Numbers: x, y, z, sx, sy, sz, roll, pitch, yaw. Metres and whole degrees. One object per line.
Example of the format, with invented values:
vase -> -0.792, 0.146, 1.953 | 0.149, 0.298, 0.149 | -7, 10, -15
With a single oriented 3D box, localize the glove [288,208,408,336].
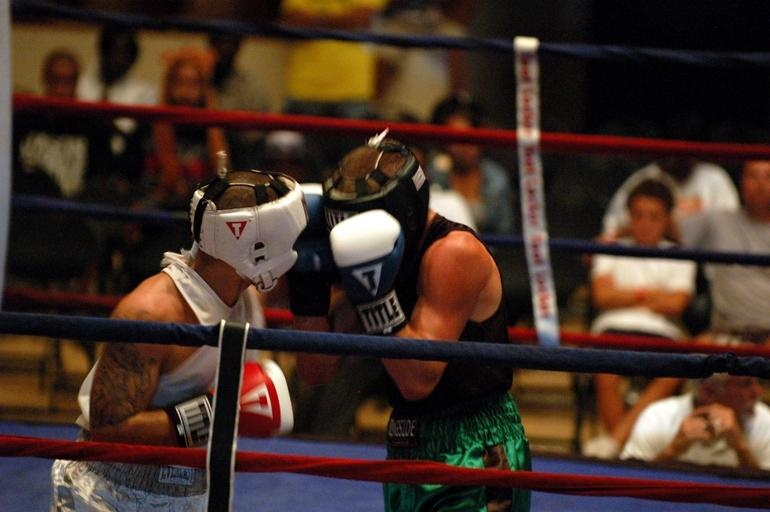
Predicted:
glove -> -0.162, 0.047, 4.057 | 0.359, 0.610, 0.380 | -21, 7, 33

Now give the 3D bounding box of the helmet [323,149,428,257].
helmet -> -0.080, -0.287, 4.195 | 0.537, 0.481, 0.396 | -4, 5, 2
